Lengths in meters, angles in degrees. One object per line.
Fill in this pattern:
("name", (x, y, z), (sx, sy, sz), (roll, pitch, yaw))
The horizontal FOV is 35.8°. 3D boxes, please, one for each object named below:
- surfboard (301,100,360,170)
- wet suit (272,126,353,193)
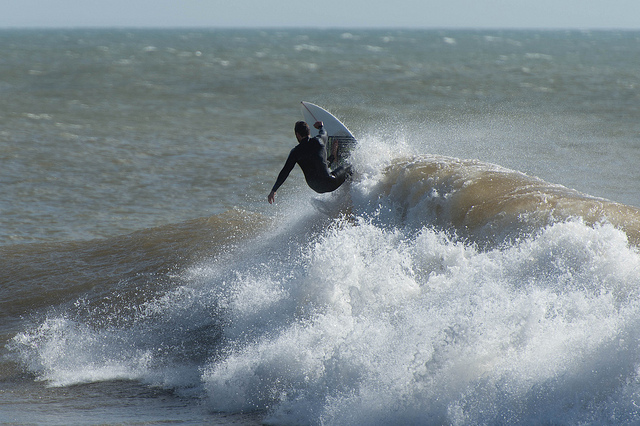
("surfboard", (0.017, -2.881, 33.188), (0.451, 1.029, 3.222), (52, 1, 20))
("wet suit", (-0.361, -1.446, 30.491), (1.332, 1.100, 2.689), (-13, 9, 31))
